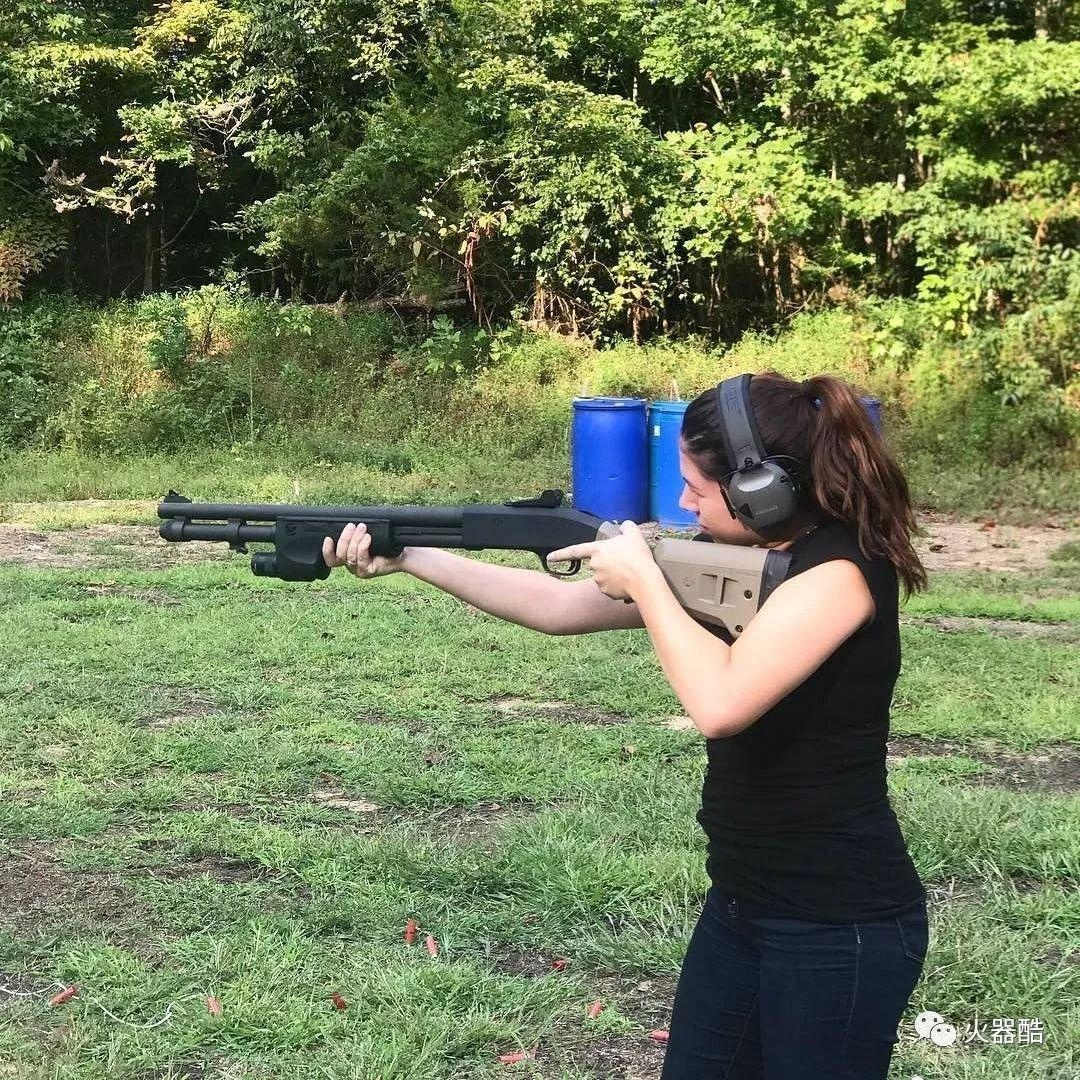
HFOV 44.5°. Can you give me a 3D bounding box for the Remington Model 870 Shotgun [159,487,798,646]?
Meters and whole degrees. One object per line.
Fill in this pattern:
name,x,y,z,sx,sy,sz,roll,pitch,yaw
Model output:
Remington Model 870 Shotgun,-0.285,0.060,3.798,2.039,0.325,0.123,3,7,24
